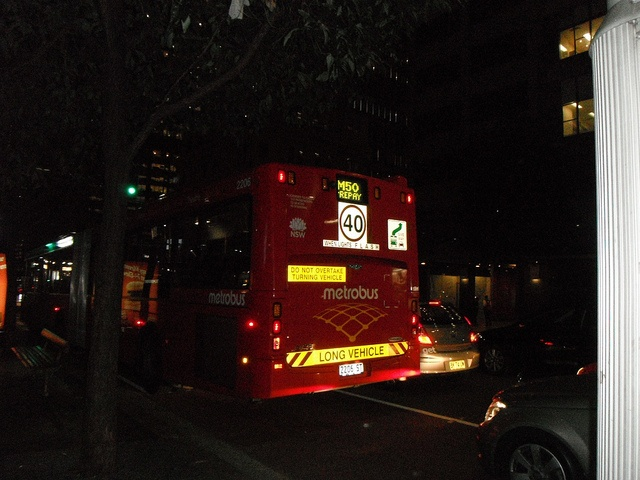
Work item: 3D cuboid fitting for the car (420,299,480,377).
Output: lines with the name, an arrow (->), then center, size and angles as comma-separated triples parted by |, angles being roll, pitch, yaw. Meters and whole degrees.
car -> 2.583, 2.044, 10.700 | 0.814, 0.804, 1.562 | 0, -2, -17

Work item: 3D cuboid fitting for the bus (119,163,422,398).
bus -> -1.167, 1.910, 12.952 | 3.113, 4.551, 9.622 | 1, -15, -22

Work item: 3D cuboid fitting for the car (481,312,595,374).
car -> 5.146, 2.319, 12.379 | 2.143, 1.181, 1.152 | -3, -8, 40
